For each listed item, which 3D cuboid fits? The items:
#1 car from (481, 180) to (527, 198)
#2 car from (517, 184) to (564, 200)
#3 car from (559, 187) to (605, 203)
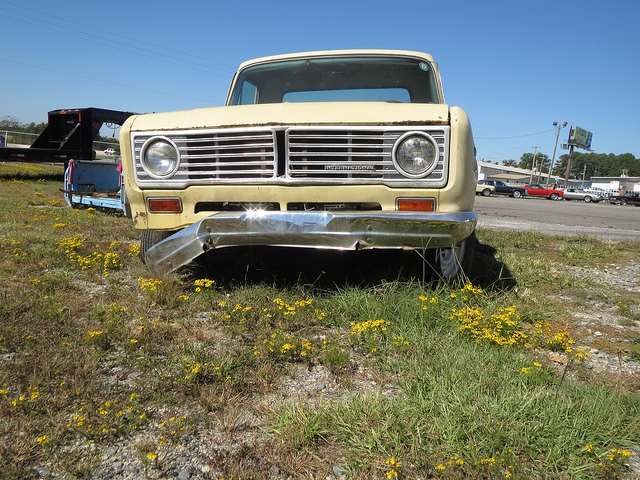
[{"bbox_3d":[16.407,-4.360,34.642,2.786,1.025,1.646,2,9,21],"label":"car"},{"bbox_3d":[19.393,-3.947,34.703,3.039,1.168,1.656,3,8,24],"label":"car"},{"bbox_3d":[23.511,-3.971,35.725,5.206,1.011,2.039,-3,11,-41],"label":"car"}]
